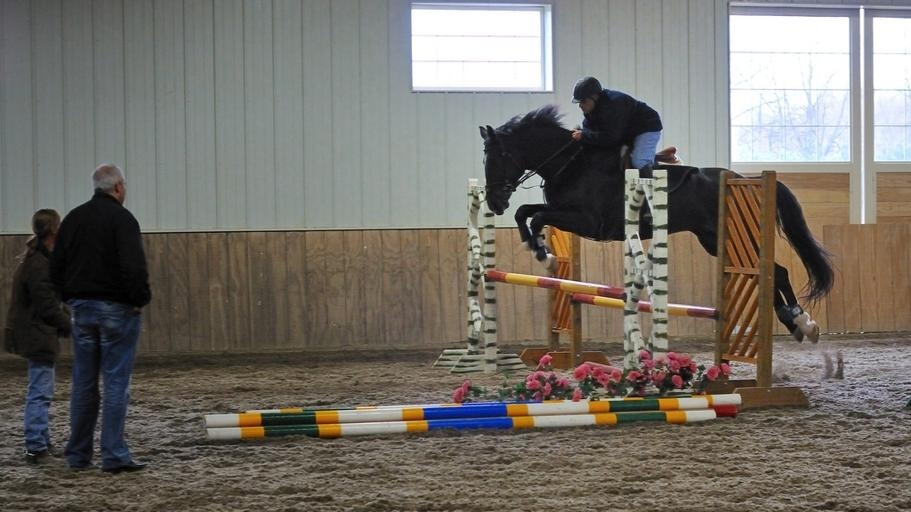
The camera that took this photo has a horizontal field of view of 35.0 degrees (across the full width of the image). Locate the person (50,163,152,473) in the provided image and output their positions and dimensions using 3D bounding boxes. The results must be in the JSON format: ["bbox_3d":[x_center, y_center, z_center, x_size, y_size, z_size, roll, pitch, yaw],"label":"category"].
[{"bbox_3d":[-4.215,0.699,17.855,1.435,3.616,1.105,-3,-5,37],"label":"person"}]

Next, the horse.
[{"bbox_3d":[2.681,-0.392,19.196,4.816,2.680,0.844,2,8,26],"label":"horse"}]
